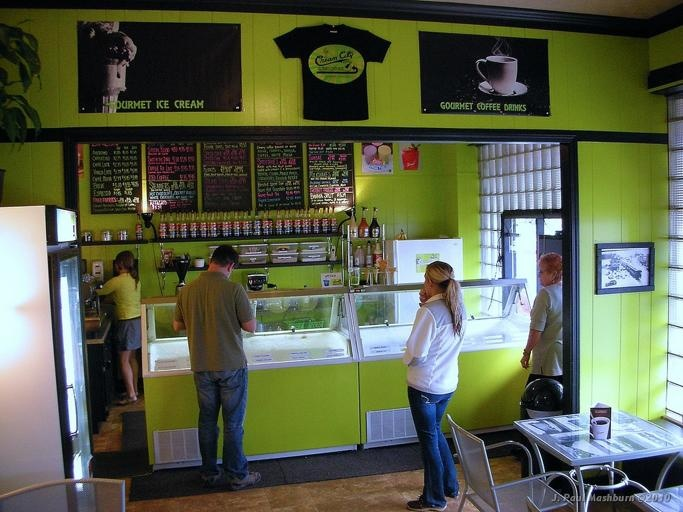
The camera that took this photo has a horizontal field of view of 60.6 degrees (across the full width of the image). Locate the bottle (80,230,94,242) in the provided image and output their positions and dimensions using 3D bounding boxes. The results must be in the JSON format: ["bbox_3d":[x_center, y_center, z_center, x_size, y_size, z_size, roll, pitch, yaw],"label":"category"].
[{"bbox_3d":[-3.142,-0.243,7.121,0.123,0.140,0.123,1,-3,-11],"label":"bottle"}]

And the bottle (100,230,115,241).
[{"bbox_3d":[-2.913,-0.248,7.166,0.135,0.130,0.136,4,7,37],"label":"bottle"}]

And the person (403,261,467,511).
[{"bbox_3d":[0.692,0.980,4.370,0.436,1.843,0.378,0,10,11],"label":"person"}]

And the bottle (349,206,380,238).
[{"bbox_3d":[0.271,-0.442,7.808,0.430,0.410,0.170,1,-3,-21],"label":"bottle"}]

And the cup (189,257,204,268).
[{"bbox_3d":[-1.862,0.087,7.383,0.138,0.090,0.119,-1,6,-7],"label":"cup"}]

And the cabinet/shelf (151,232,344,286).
[{"bbox_3d":[-1.351,-0.020,7.665,2.770,0.491,0.430,1,15,23],"label":"cabinet/shelf"}]

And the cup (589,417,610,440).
[{"bbox_3d":[1.732,1.152,3.900,0.102,0.105,0.148,-5,-2,-17],"label":"cup"}]

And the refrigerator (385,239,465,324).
[{"bbox_3d":[1.100,0.534,7.377,0.844,1.513,0.483,-2,-38,9],"label":"refrigerator"}]

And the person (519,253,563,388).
[{"bbox_3d":[1.754,0.554,5.085,0.338,1.109,0.277,1,10,19],"label":"person"}]

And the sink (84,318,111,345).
[{"bbox_3d":[-2.610,0.790,6.131,0.140,0.242,0.582,2,-3,-13],"label":"sink"}]

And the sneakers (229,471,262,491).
[{"bbox_3d":[-0.791,1.821,4.766,0.273,0.125,0.095,-6,8,-34],"label":"sneakers"}]

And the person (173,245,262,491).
[{"bbox_3d":[-1.028,0.893,4.720,0.650,1.911,0.407,-1,10,5],"label":"person"}]

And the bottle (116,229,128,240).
[{"bbox_3d":[-2.745,-0.261,7.199,0.118,0.126,0.120,3,5,11],"label":"bottle"}]
